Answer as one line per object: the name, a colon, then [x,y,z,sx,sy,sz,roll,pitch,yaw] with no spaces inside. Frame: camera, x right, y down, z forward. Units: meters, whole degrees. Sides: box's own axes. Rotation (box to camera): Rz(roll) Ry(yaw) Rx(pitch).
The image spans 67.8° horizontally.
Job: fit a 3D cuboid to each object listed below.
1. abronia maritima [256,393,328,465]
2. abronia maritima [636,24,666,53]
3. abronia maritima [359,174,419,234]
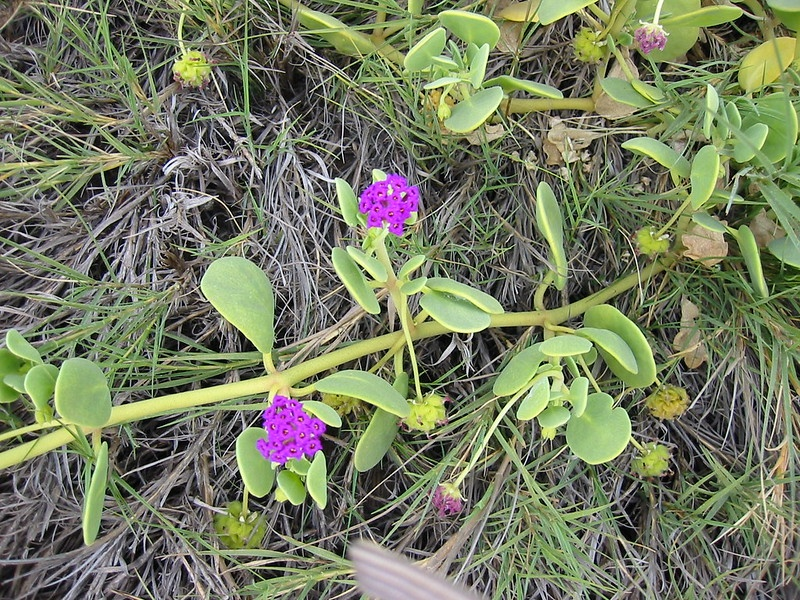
abronia maritima: [-0.219,0.269,1.218,0.128,0.095,0.137,12,76,-3]
abronia maritima: [0.583,-0.613,1.393,0.064,0.037,0.071,12,106,9]
abronia maritima: [-0.023,-0.184,1.152,0.112,0.064,0.109,2,77,-6]
